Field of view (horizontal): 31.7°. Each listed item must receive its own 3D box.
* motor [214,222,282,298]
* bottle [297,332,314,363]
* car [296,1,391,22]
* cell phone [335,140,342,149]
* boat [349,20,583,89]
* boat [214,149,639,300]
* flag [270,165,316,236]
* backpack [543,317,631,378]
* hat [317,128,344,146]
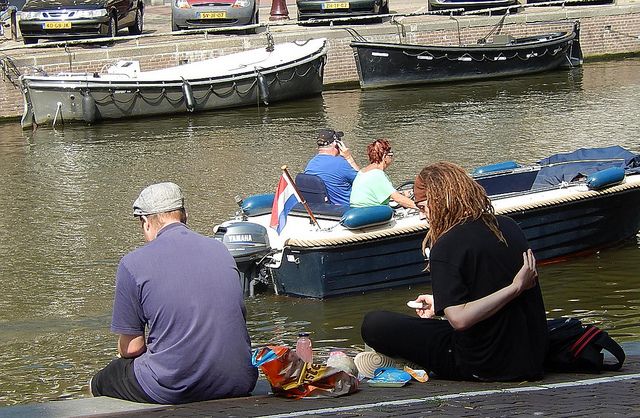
[{"bbox_3d":[-0.963,0.700,15.645,0.843,1.082,0.266,-6,9,-15],"label":"motor"},{"bbox_3d":[-0.182,1.634,13.136,0.173,0.363,0.370,-5,8,-4],"label":"bottle"},{"bbox_3d":[0.673,-5.720,32.539,2.563,0.707,2.610,-4,7,-4],"label":"car"},{"bbox_3d":[0.258,-0.941,16.449,0.035,0.121,0.140,3,0,-27],"label":"cell phone"},{"bbox_3d":[4.863,-4.070,31.239,8.864,1.600,2.032,-6,6,-22],"label":"boat"},{"bbox_3d":[1.409,0.158,16.512,6.895,1.574,2.246,-11,21,-16],"label":"boat"},{"bbox_3d":[-0.393,-0.172,15.479,0.656,0.964,0.268,-12,30,-13],"label":"flag"},{"bbox_3d":[2.985,1.563,12.549,0.897,0.275,0.633,14,-8,-31],"label":"backpack"},{"bbox_3d":[0.138,-1.059,16.520,0.325,0.227,0.443,-3,7,7],"label":"hat"}]
